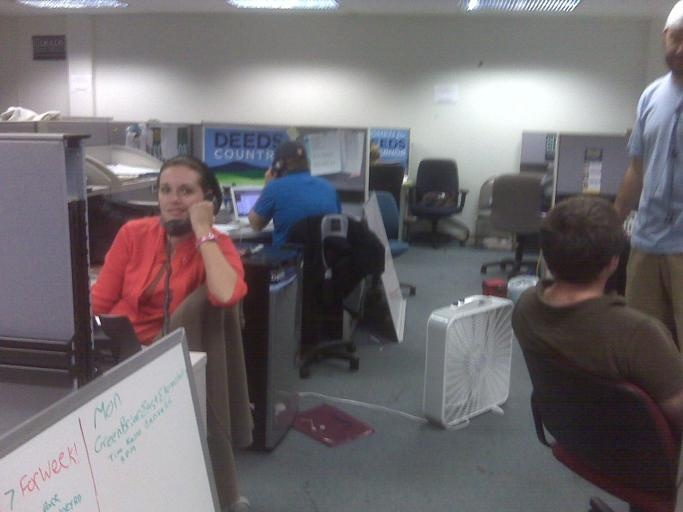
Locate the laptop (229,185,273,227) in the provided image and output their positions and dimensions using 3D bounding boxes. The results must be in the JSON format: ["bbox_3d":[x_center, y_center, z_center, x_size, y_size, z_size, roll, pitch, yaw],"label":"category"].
[{"bbox_3d":[-0.565,-0.302,3.517,0.273,0.287,0.106,0,-2,-25],"label":"laptop"}]

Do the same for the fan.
[{"bbox_3d":[0.551,0.474,2.454,0.177,0.549,0.470,7,12,41],"label":"fan"}]

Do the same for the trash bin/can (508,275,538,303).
[{"bbox_3d":[0.896,0.157,2.859,0.137,0.166,0.145,4,14,17],"label":"trash bin/can"}]

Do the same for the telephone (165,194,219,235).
[{"bbox_3d":[-0.467,-0.127,1.789,0.144,0.060,0.111,-5,8,14],"label":"telephone"}]

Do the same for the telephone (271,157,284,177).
[{"bbox_3d":[-0.373,-0.522,3.367,0.067,0.117,0.115,-1,18,-7],"label":"telephone"}]

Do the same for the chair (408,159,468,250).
[{"bbox_3d":[1.059,-0.608,6.351,0.625,0.915,0.381,2,12,6],"label":"chair"}]

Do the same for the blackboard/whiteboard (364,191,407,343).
[{"bbox_3d":[0.272,0.084,3.712,0.354,0.611,0.863,-2,29,1],"label":"blackboard/whiteboard"}]

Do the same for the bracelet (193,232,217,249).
[{"bbox_3d":[-0.406,-0.056,1.703,0.045,0.049,0.050,-35,39,0],"label":"bracelet"}]
